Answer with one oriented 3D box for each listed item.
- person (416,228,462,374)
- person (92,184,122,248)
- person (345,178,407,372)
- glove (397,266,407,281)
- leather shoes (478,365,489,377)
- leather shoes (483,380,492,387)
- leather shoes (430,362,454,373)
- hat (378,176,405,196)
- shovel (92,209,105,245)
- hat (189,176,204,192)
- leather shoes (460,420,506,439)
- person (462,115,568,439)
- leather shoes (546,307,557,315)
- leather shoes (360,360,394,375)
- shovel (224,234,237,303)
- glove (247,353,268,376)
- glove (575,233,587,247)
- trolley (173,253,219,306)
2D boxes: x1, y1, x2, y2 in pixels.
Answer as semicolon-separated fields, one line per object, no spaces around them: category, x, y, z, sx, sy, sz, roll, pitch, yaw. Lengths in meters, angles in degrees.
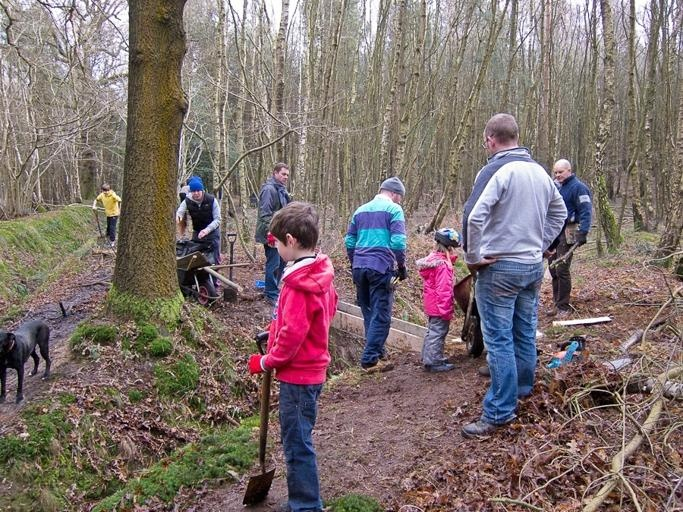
person;1.355;0.587;8.084;0.553;1.963;0.825;2;8;11
person;-6.830;-1.176;16.695;0.683;1.742;1.527;-3;9;-24
person;0.493;0.295;8.221;0.832;2.789;0.501;2;8;9
glove;0.866;0.260;8.182;0.165;0.172;0.256;-1;-1;17
leather shoes;1.839;1.484;7.375;0.082;0.147;0.132;6;4;-42
leather shoes;1.787;1.565;6.993;0.100;0.070;0.130;3;-1;-4
leather shoes;1.363;1.514;7.811;0.316;0.167;0.129;-5;5;-1
hat;0.730;-0.997;8.239;0.303;0.268;0.241;4;6;-8
shovel;-7.990;-0.909;18.779;0.315;0.331;1.502;-40;41;-5
hat;-2.738;-1.343;10.766;0.239;0.262;0.647;-2;9;-15
leather shoes;1.568;1.889;6.293;0.434;0.213;0.194;3;0;6
person;1.788;0.220;6.338;0.822;3.501;0.714;3;8;20
leather shoes;3.592;0.959;9.766;0.081;0.183;0.249;-4;-17;43
leather shoes;0.527;1.630;8.459;0.473;0.250;0.183;-9;3;7
shovel;-2.103;0.231;10.862;0.252;1.289;0.266;5;-6;-2
glove;-0.837;1.079;5.675;0.167;0.130;0.232;9;-15;-12
glove;3.851;-0.250;9.221;0.182;0.208;0.172;9;-15;35
trolley;-2.504;0.367;9.819;0.871;0.516;0.578;19;28;38
